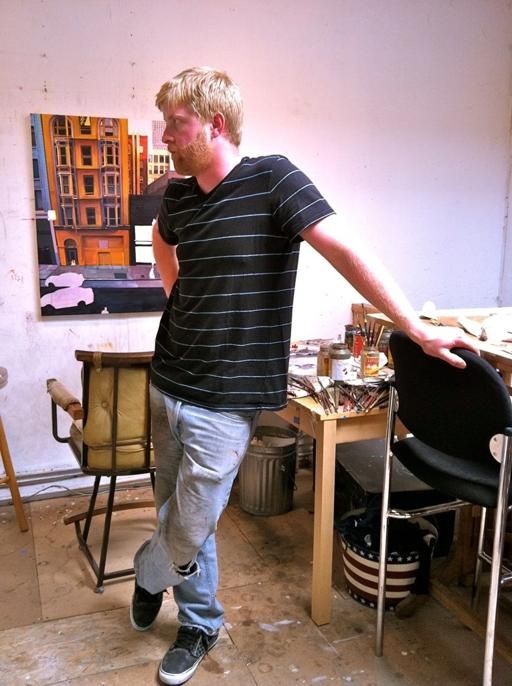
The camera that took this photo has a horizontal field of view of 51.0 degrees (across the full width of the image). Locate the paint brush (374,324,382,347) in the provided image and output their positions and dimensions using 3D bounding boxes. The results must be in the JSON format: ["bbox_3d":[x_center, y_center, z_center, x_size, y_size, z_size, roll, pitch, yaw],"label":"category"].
[{"bbox_3d":[0.483,-0.024,2.136,0.018,0.076,0.078,19,36,16],"label":"paint brush"}]

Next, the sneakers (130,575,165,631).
[{"bbox_3d":[-0.353,0.848,1.728,0.085,0.195,0.070,-12,-26,18],"label":"sneakers"}]

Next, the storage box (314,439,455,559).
[{"bbox_3d":[0.565,0.750,2.313,0.359,0.375,0.627,-1,4,-7],"label":"storage box"}]

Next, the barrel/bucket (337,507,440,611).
[{"bbox_3d":[0.447,0.720,1.835,0.369,0.216,0.353,2,-1,0],"label":"barrel/bucket"}]

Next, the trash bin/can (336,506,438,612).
[{"bbox_3d":[0.445,0.728,1.833,0.369,0.216,0.353,2,-2,7],"label":"trash bin/can"}]

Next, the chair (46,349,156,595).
[{"bbox_3d":[-0.515,0.424,2.111,0.572,0.817,0.560,0,6,-12],"label":"chair"}]

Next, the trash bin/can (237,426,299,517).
[{"bbox_3d":[0.092,0.662,2.618,0.314,0.301,0.311,7,-9,-26],"label":"trash bin/can"}]
